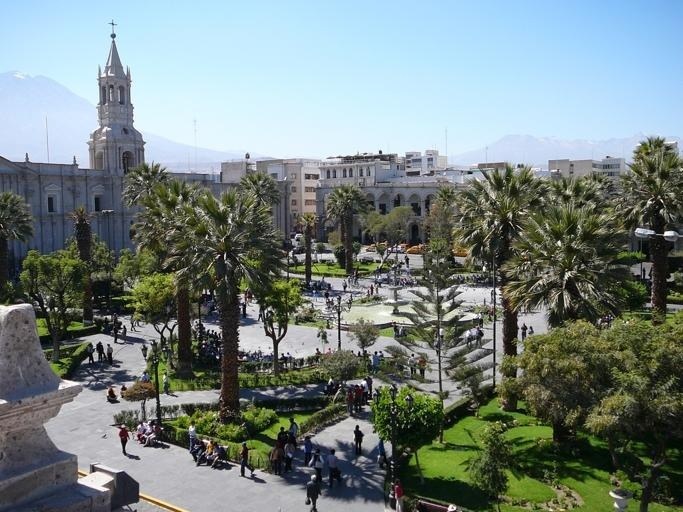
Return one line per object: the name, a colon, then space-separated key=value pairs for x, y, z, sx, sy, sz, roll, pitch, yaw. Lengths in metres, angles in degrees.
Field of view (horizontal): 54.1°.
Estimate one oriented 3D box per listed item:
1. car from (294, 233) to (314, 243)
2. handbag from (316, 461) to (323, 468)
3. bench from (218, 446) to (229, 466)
car: x=-5.229 y=-2.364 z=91.179 sx=2.282 sy=1.279 sz=3.992 roll=0 pitch=2 yaw=-8
handbag: x=-0.905 y=8.316 z=26.619 sx=0.337 sy=0.300 sz=0.170 roll=-1 pitch=2 yaw=-40
bench: x=-5.017 y=8.335 z=28.119 sx=0.460 sy=0.715 sz=0.557 roll=0 pitch=2 yaw=-16
